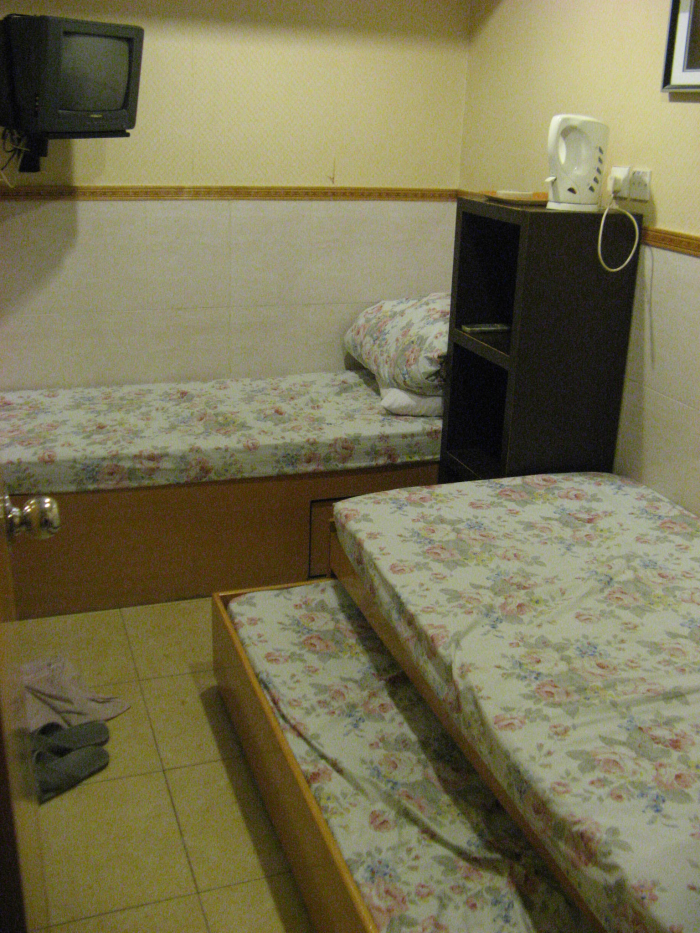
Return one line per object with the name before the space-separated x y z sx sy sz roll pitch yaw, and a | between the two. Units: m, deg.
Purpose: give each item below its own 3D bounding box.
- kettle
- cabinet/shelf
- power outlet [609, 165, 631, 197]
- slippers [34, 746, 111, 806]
kettle | 0.590 -0.796 1.995 0.148 0.231 0.131 8 19 10
cabinet/shelf | 0.530 -0.308 2.240 0.404 0.889 0.454 -2 20 -18
power outlet | 0.717 -0.762 2.021 0.042 0.081 0.077 4 19 -2
slippers | -0.645 0.689 1.737 0.100 0.042 0.195 20 24 39
